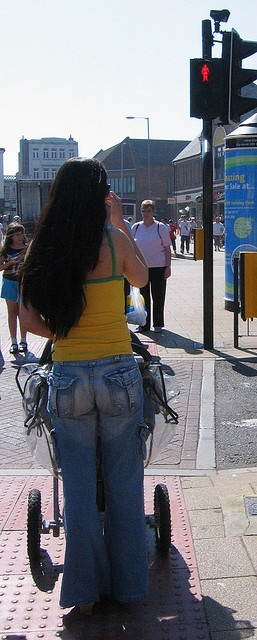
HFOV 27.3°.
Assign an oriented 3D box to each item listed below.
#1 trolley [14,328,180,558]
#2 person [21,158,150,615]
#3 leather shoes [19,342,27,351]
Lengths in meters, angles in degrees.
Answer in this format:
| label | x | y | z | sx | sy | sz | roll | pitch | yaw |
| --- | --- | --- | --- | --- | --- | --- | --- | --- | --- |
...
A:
| label | x | y | z | sx | sy | sz | roll | pitch | yaw |
| --- | --- | --- | --- | --- | --- | --- | --- | --- | --- |
| trolley | -0.140 | 0.530 | 2.391 | 0.640 | 1.292 | 0.779 | 0 | 12 | -6 |
| person | -0.156 | 0.228 | 1.882 | 0.435 | 1.564 | 0.255 | -1 | 3 | -2 |
| leather shoes | -1.516 | 0.399 | 7.653 | 0.074 | 0.139 | 0.123 | 1 | -10 | -12 |
